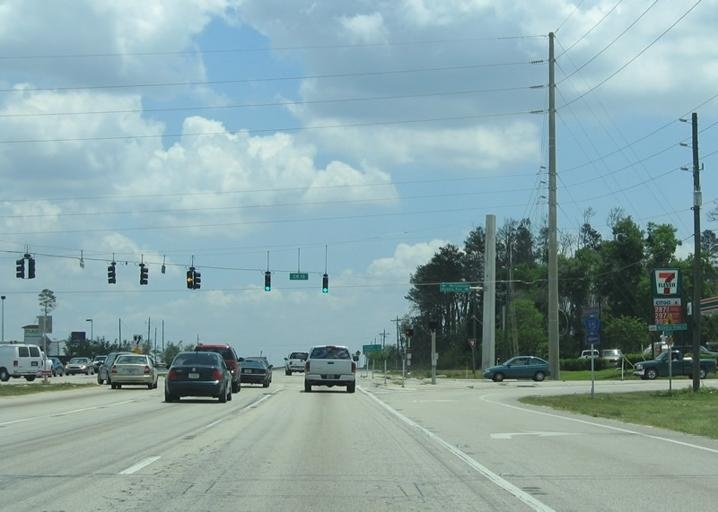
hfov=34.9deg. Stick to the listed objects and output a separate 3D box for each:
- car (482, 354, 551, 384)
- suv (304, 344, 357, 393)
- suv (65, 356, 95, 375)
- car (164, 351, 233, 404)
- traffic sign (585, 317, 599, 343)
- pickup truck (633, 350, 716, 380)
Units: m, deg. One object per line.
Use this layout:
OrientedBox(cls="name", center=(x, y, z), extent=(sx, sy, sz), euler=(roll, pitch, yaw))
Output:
OrientedBox(cls="car", center=(9.435, 6.687, 67.363), extent=(2.692, 1.599, 4.275), euler=(-5, -10, 42))
OrientedBox(cls="suv", center=(-1.307, 5.209, 52.783), extent=(2.420, 3.082, 6.554), euler=(0, -5, -1))
OrientedBox(cls="suv", center=(-21.692, 8.696, 88.800), extent=(1.131, 1.063, 2.927), euler=(1, 0, -1))
OrientedBox(cls="car", center=(-6.164, 4.625, 43.753), extent=(2.376, 2.039, 1.513), euler=(2, -10, -14))
OrientedBox(cls="traffic sign", center=(10.088, 3.252, 49.382), extent=(0.542, 1.202, 0.992), euler=(-2, -10, 11))
OrientedBox(cls="pickup truck", center=(17.791, 6.153, 63.961), extent=(4.636, 1.827, 3.806), euler=(1, -7, -1))
